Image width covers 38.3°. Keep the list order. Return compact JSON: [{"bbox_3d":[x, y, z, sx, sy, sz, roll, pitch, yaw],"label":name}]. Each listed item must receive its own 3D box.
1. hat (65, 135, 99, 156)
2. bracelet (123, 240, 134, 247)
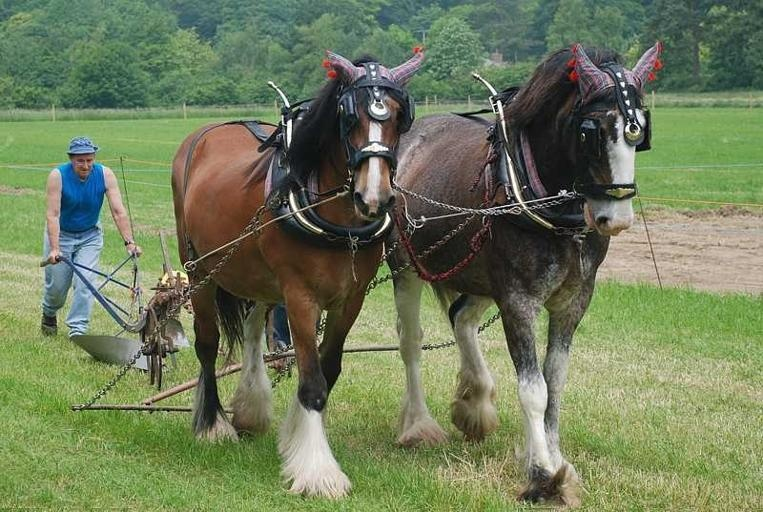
[{"bbox_3d":[-4.334,-1.545,15.821,0.499,0.239,0.483,2,-2,-19],"label":"hat"},{"bbox_3d":[-3.613,-0.175,15.631,0.137,0.055,0.152,-3,-3,-3],"label":"bracelet"}]
